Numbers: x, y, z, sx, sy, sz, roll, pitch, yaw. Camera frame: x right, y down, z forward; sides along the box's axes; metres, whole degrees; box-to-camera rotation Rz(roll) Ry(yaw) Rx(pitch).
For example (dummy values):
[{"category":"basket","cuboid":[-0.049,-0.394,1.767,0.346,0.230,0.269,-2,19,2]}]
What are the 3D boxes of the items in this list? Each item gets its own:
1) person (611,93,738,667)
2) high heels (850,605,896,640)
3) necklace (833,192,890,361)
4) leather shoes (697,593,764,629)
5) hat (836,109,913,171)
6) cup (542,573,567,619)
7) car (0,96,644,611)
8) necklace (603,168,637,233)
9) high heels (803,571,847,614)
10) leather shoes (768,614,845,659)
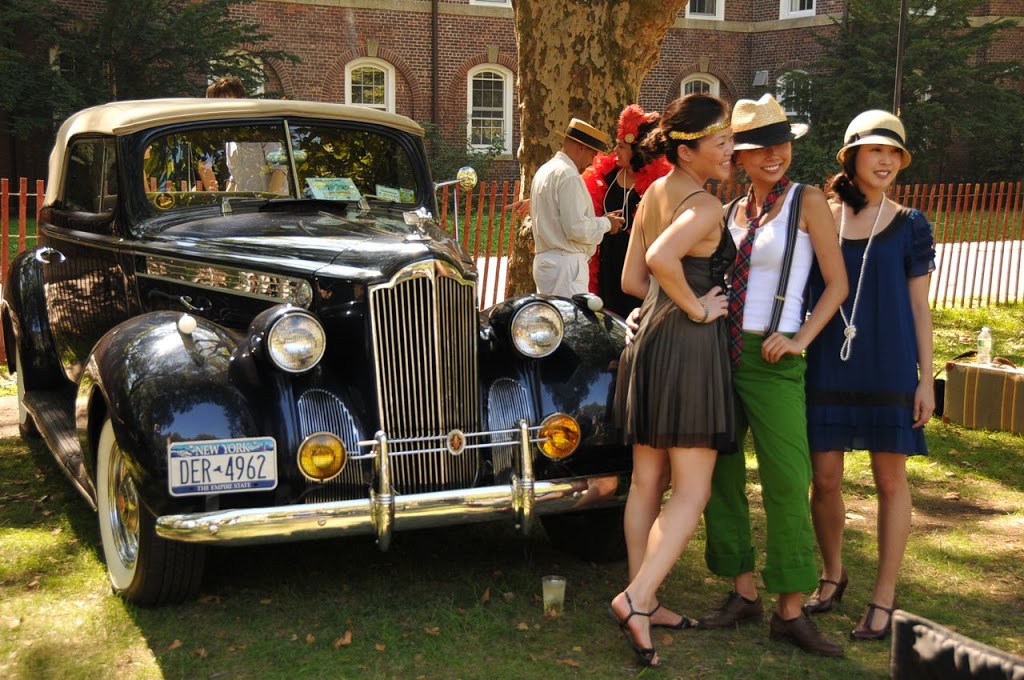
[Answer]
[{"category":"person","cuboid":[0.886,0.190,4.634,0.640,2.898,0.937,3,13,7]},{"category":"high heels","cuboid":[1.991,1.530,4.788,0.192,0.200,0.194,9,16,28]},{"category":"necklace","cuboid":[1.904,-0.358,4.766,0.267,0.923,0.081,12,0,-5]},{"category":"leather shoes","cuboid":[1.259,1.520,5.010,0.411,0.200,0.152,1,-3,-22]},{"category":"hat","cuboid":[2.034,-1.187,4.979,0.363,0.249,0.406,1,-4,-7]},{"category":"cup","cuboid":[0.249,1.436,5.065,0.144,0.228,0.235,1,14,2]},{"category":"car","cuboid":[-1.501,-0.104,5.566,4.373,2.796,2.491,10,16,32]},{"category":"necklace","cuboid":[0.906,-1.131,7.095,0.272,0.491,0.119,12,3,41]},{"category":"high heels","cuboid":[1.860,1.477,5.174,0.462,0.227,0.153,1,-5,-40]},{"category":"leather shoes","cuboid":[1.573,1.578,4.661,0.409,0.181,0.151,5,5,40]}]
